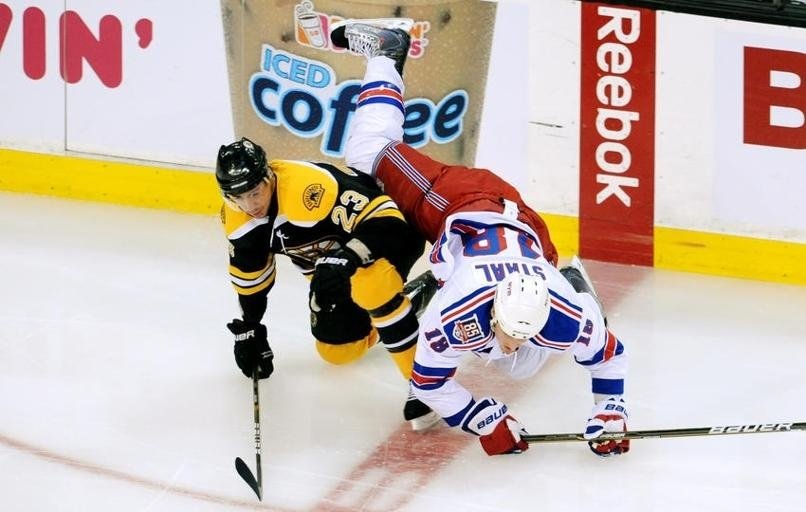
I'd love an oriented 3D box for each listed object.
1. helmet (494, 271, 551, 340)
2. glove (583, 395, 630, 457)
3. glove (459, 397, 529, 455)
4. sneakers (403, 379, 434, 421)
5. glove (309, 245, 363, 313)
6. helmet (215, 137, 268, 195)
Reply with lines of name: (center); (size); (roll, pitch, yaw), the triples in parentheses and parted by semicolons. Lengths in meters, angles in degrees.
helmet: (0.595, 0.282, 6.192); (0.299, 0.318, 0.319); (6, -18, -11)
glove: (1.125, 0.934, 6.495); (0.268, 0.326, 0.157); (-1, 7, -2)
glove: (0.530, 0.930, 6.652); (0.383, 0.268, 0.170); (31, 14, 2)
sneakers: (0.080, 0.854, 6.904); (0.136, 0.243, 0.422); (5, 2, 16)
glove: (-0.375, 0.112, 6.461); (0.152, 0.351, 0.292); (48, -23, -22)
helmet: (-0.893, -0.527, 6.558); (0.263, 0.308, 0.316); (-14, 23, 7)
